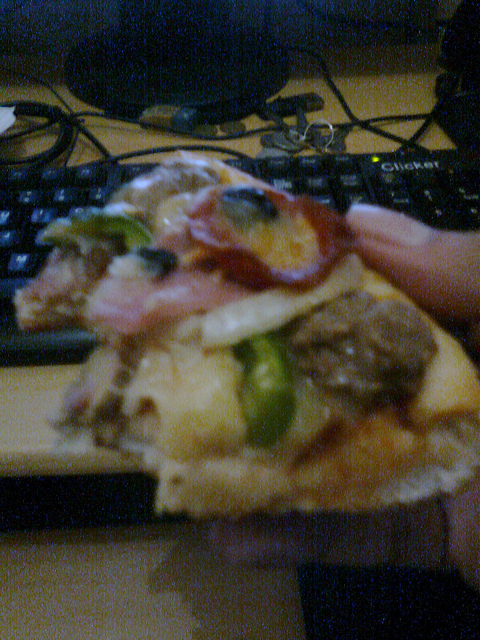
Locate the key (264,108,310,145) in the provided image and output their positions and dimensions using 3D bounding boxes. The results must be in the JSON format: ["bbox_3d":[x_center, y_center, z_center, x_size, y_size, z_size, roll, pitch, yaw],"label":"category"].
[{"bbox_3d":[0.034,-0.145,0.402,0.023,0.010,0.041,-39,59,6],"label":"key"}]

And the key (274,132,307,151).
[{"bbox_3d":[0.032,-0.128,0.385,0.014,0.004,0.017,-18,58,-35],"label":"key"}]

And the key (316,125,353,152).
[{"bbox_3d":[0.069,-0.133,0.392,0.026,0.005,0.013,-35,86,-17],"label":"key"}]
